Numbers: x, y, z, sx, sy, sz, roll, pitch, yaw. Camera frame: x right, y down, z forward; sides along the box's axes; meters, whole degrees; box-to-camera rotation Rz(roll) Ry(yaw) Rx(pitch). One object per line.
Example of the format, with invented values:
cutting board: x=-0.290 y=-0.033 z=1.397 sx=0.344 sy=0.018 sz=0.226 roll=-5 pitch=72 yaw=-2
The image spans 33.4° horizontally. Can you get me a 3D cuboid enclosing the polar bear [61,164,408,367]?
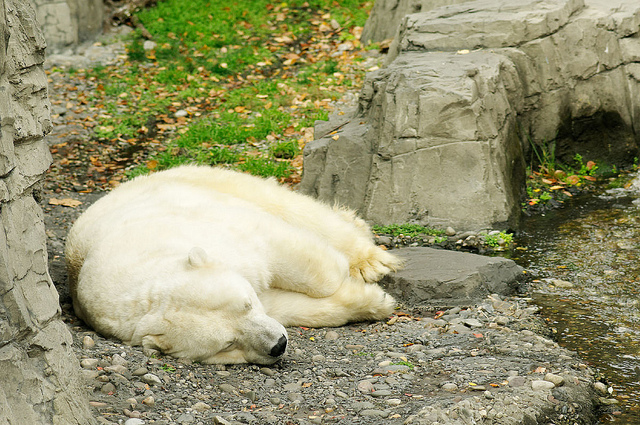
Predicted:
polar bear: x=-1.085 y=0.518 z=11.352 sx=3.285 sy=1.840 sz=5.063 roll=5 pitch=-5 yaw=-5
